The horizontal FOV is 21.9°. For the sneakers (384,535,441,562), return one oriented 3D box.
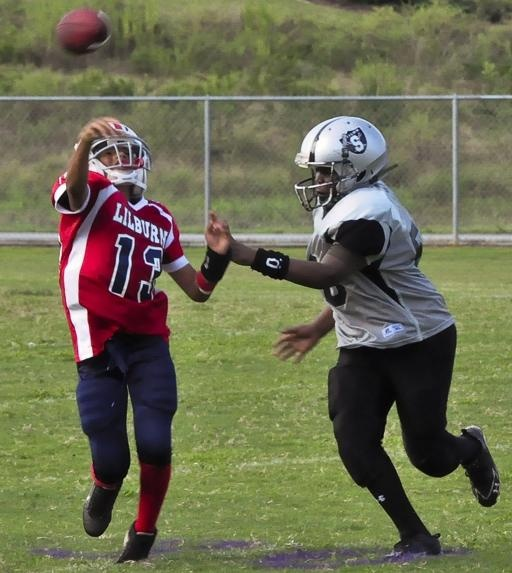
[{"bbox_3d":[0.812,1.323,6.727,0.324,0.102,0.105,0,-4,-1],"label":"sneakers"}]

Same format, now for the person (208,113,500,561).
[{"bbox_3d":[0.634,0.219,7.008,1.186,2.154,0.961,10,19,33],"label":"person"}]

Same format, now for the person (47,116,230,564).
[{"bbox_3d":[-0.585,0.243,7.032,0.874,2.264,1.013,-4,17,-10],"label":"person"}]

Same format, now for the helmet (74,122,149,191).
[{"bbox_3d":[-0.737,-0.682,7.280,0.386,0.306,0.405,15,-8,-14],"label":"helmet"}]

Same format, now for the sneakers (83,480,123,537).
[{"bbox_3d":[-0.782,1.182,7.192,0.150,0.240,0.403,8,10,13],"label":"sneakers"}]

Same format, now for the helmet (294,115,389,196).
[{"bbox_3d":[0.403,-0.714,7.154,0.598,0.387,0.452,-13,21,-41],"label":"helmet"}]

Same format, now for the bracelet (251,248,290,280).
[{"bbox_3d":[0.081,-0.116,6.793,0.207,0.169,0.189,2,15,9],"label":"bracelet"}]

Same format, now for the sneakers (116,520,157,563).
[{"bbox_3d":[-0.626,1.325,6.916,0.259,0.188,0.163,-7,17,-24],"label":"sneakers"}]

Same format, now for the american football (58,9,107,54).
[{"bbox_3d":[-1.006,-1.488,7.757,0.281,0.265,0.262,-7,17,-24],"label":"american football"}]
